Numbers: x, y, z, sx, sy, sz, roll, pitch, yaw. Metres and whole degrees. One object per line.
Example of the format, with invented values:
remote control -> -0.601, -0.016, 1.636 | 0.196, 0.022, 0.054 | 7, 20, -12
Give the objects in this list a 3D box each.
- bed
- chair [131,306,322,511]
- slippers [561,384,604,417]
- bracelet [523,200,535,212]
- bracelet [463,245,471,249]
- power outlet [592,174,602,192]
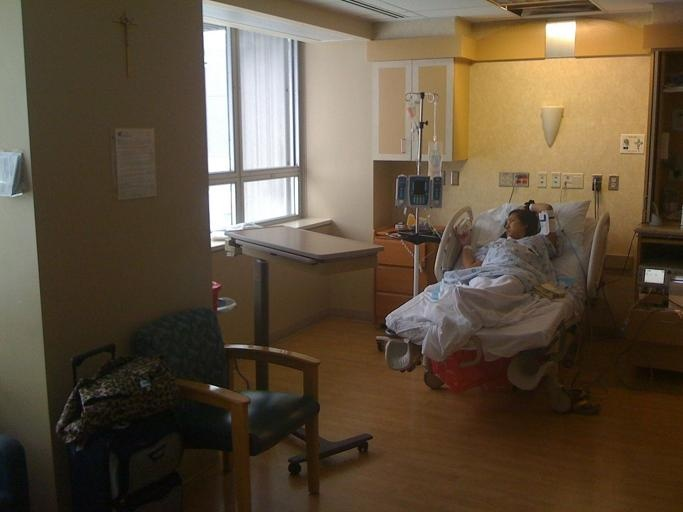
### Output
bed -> 1.130, 0.231, 3.939 | 1.112, 1.302, 1.988 | -2, 8, 37
chair -> -0.474, 0.611, 2.928 | 0.818, 1.076, 0.843 | 2, 5, 27
slippers -> 1.571, 0.951, 3.604 | 0.200, 0.058, 0.209 | 2, 14, 23
bracelet -> 1.475, -0.397, 4.338 | 0.084, 0.040, 0.124 | 5, 19, 24
bracelet -> 0.936, -0.065, 4.146 | 0.023, 0.026, 0.069 | 0, 1, 26
power outlet -> 2.110, -0.592, 4.558 | 0.078, 0.131, 0.030 | 6, 15, 26
